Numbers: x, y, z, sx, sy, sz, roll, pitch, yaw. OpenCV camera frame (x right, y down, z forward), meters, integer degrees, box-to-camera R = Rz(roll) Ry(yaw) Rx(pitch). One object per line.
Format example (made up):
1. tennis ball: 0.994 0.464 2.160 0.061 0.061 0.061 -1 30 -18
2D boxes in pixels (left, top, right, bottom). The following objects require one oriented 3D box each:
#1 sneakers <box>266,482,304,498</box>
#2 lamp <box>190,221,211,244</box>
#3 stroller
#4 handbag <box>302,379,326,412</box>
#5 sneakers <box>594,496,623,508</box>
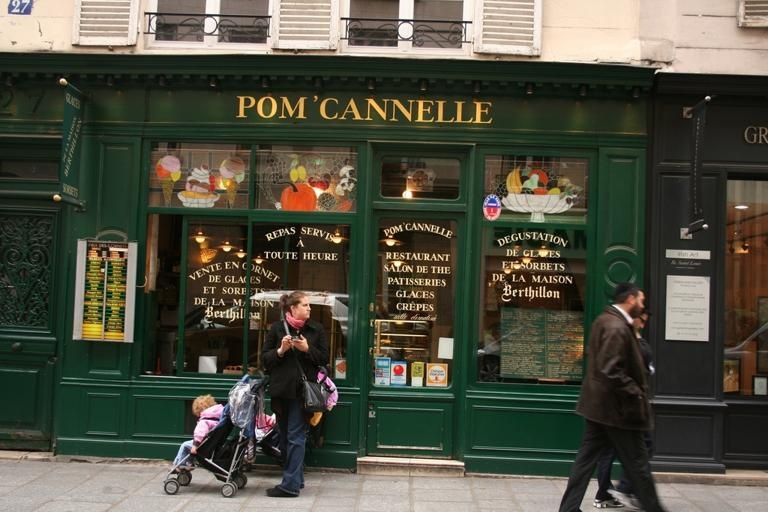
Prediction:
1. sneakers: -1.363 3.192 16.040 0.440 0.153 0.173 4 -5 -1
2. lamp: -2.712 -0.330 17.307 0.315 0.296 0.275 0 -4 4
3. stroller: -2.266 2.451 16.058 1.287 1.635 0.567 0 -3 -7
4. handbag: -0.956 1.908 15.970 0.181 0.354 0.407 -27 -29 38
5. sneakers: 3.062 3.329 15.964 0.336 0.132 0.161 -1 -3 -3
